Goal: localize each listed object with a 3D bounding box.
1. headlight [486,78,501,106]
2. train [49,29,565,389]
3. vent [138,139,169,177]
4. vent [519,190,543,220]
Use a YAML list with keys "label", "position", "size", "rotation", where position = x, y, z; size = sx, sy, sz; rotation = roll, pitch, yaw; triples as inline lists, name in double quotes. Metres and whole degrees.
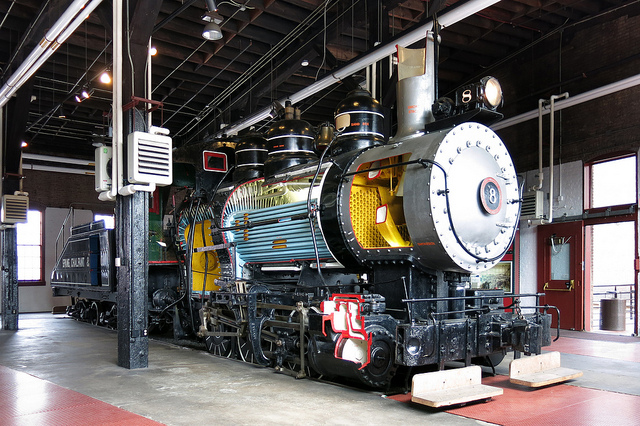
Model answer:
- label: "headlight"
  position: [2.747, -1.913, 7.937]
  size: [0.087, 0.378, 0.377]
  rotation: [-2, -1, 37]
- label: "train"
  position: [-2.104, 0.349, 13.058]
  size: [5.129, 6.085, 14.808]
  rotation: [2, -3, -36]
- label: "vent"
  position: [-3.017, -0.986, 8.989]
  size: [0.663, 0.789, 0.103]
  rotation: [4, -8, -35]
- label: "vent"
  position: [6.222, -0.217, 14.776]
  size: [0.278, 0.781, 0.774]
  rotation: [3, -5, -17]
